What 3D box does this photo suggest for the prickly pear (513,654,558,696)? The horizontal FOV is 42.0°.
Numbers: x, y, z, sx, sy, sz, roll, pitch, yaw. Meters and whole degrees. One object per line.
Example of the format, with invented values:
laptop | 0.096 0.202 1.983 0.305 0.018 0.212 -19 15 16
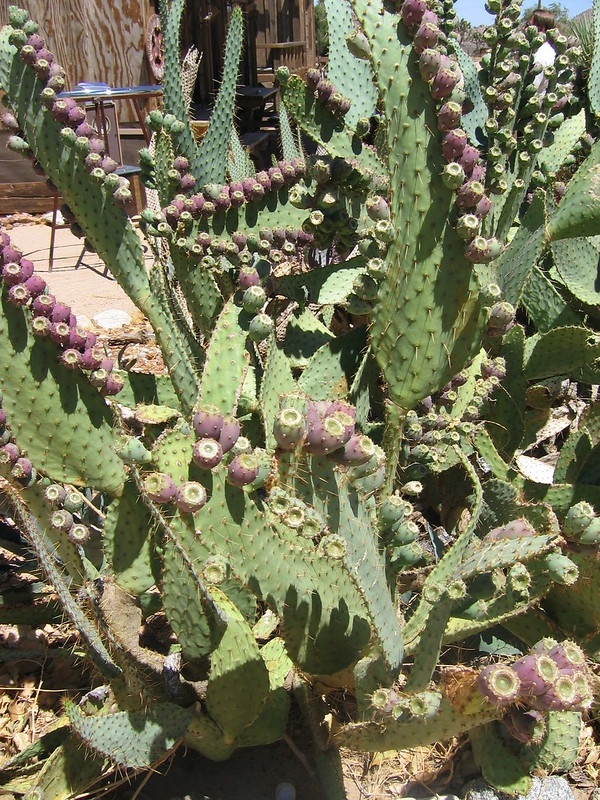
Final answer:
prickly pear | 0.389 0.459 1.303 0.072 0.069 0.058 13 38 14
